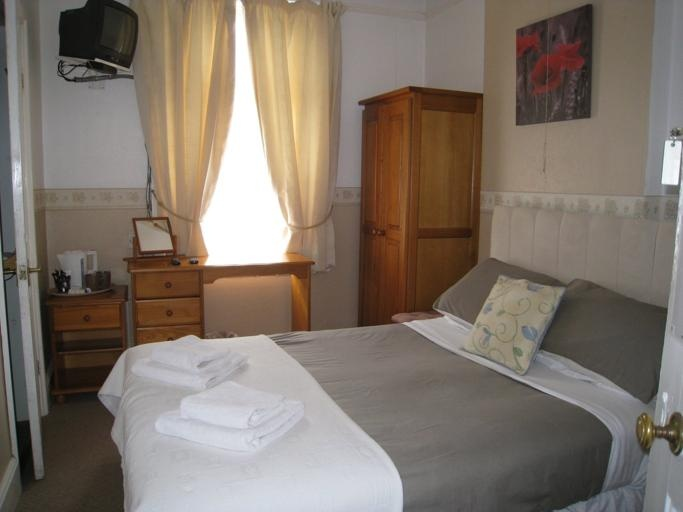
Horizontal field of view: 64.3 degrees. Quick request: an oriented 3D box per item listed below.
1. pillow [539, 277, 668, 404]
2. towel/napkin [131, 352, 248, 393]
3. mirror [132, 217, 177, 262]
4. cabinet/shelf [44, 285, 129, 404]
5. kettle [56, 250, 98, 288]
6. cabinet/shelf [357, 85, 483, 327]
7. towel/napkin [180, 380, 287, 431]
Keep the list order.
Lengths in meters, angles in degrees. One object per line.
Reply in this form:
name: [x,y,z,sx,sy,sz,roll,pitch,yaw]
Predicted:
pillow: [1.404,0.457,2.887,0.294,0.413,0.600,-8,10,-36]
towel/napkin: [-0.722,0.595,2.804,0.264,0.076,0.264,3,3,36]
mirror: [-1.522,-0.126,4.411,0.332,0.319,0.026,2,-18,-33]
cabinet/shelf: [-2.014,0.670,4.346,0.578,0.862,0.523,0,15,-19]
kettle: [-2.036,0.097,4.220,0.348,0.419,0.225,2,-2,-26]
cabinet/shelf: [0.948,-0.377,4.868,0.532,1.941,0.928,5,29,15]
towel/napkin: [-0.472,0.652,2.398,0.218,0.079,0.222,4,2,28]
